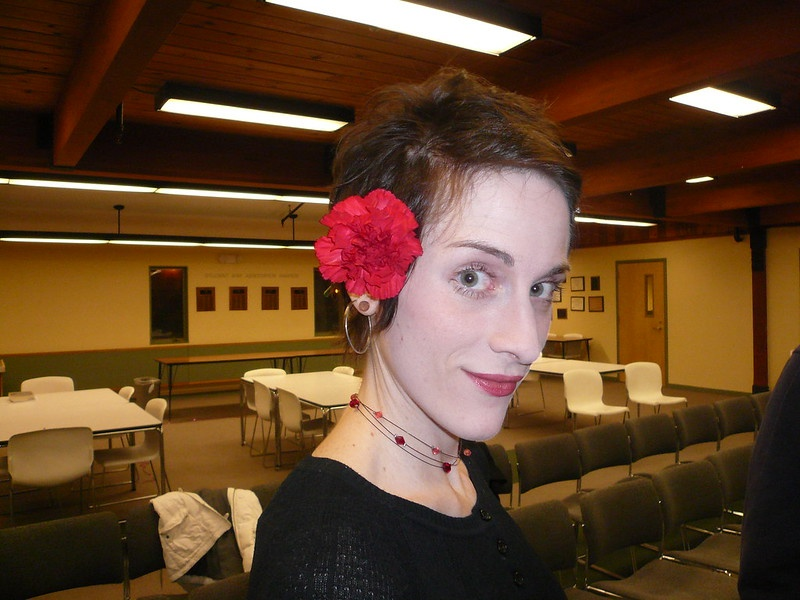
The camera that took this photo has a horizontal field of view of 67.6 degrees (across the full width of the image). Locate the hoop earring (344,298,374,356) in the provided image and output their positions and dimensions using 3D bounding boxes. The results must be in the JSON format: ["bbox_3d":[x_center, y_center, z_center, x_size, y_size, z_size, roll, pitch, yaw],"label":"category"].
[{"bbox_3d":[-0.103,0.081,1.574,0.104,0.123,0.023,-1,0,31],"label":"hoop earring"}]

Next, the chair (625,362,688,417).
[{"bbox_3d":[3.102,1.041,7.488,0.557,0.509,0.443,0,-3,8],"label":"chair"}]

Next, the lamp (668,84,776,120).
[{"bbox_3d":[2.347,-1.410,4.317,0.962,0.099,0.283,3,-5,-36],"label":"lamp"}]
